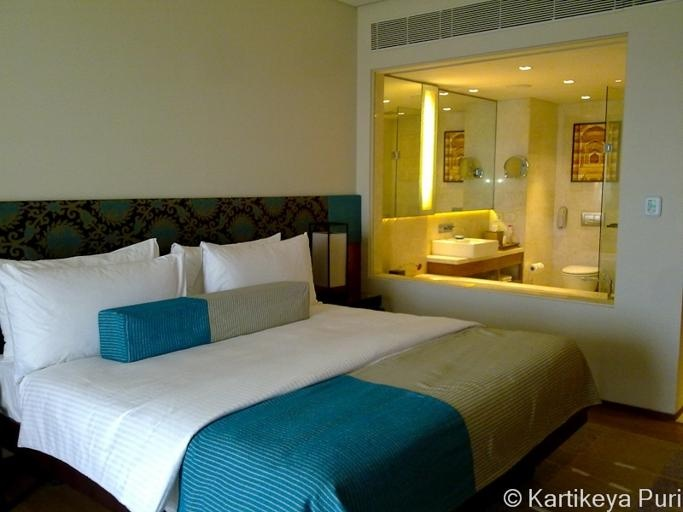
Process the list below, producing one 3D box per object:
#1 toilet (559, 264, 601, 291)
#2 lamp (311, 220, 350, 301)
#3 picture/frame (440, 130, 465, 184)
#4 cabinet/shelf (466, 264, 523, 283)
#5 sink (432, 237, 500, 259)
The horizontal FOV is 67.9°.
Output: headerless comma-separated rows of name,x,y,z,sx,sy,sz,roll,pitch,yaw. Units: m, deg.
toilet,2.723,0.227,5.860,0.527,0.404,0.461,1,4,26
lamp,-0.121,0.029,4.591,0.336,0.673,0.539,-1,9,-4
picture/frame,1.215,-1.113,5.650,0.044,0.635,0.617,2,3,31
cabinet/shelf,1.914,0.233,6.109,0.929,0.229,0.079,-7,11,-40
sink,1.437,-0.084,5.688,0.810,0.182,0.363,-4,9,-24
